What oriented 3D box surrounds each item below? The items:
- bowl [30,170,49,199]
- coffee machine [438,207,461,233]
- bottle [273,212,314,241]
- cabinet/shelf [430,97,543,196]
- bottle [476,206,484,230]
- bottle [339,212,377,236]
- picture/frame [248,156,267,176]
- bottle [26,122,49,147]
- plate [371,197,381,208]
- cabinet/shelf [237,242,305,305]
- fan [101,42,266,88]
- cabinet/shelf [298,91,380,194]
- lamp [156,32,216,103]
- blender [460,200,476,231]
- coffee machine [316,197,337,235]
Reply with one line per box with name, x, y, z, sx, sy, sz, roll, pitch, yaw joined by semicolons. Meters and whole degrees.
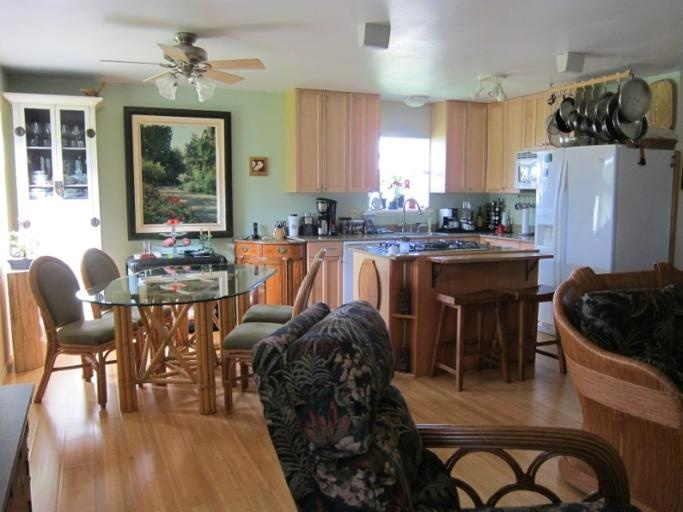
bowl;-3.032;-0.714;5.464;0.187;0.283;0.050;-8;16;-28
coffee machine;1.484;-0.489;7.499;0.322;0.396;0.317;-3;7;-22
bottle;-0.643;-0.301;6.618;0.356;0.515;0.427;0;4;37
cabinet/shelf;1.862;-1.369;7.025;1.180;1.145;1.182;-2;6;-21
bottle;1.956;-0.534;7.645;0.130;0.287;0.322;3;14;14
bottle;0.201;-0.398;7.020;0.495;0.231;0.411;0;13;4
picture/frame;-1.031;-1.099;6.620;0.239;0.241;0.017;-1;4;-27
bottle;-3.029;-1.193;5.462;0.222;0.253;0.221;0;3;-34
plate;0.462;-0.708;7.352;0.107;0.147;0.142;-1;4;-4
cabinet/shelf;-0.707;0.201;5.697;0.693;0.823;0.288;0;5;-4
fan;-1.115;-1.584;4.395;0.699;0.334;0.866;-6;14;-22
cabinet/shelf;-0.073;-1.402;6.546;1.128;1.104;0.386;-3;10;-25
lamp;-1.208;-1.516;4.273;0.503;0.399;0.533;4;-5;-35
blender;1.751;-0.548;7.528;0.205;0.356;0.452;2;13;12
coffee machine;-0.184;-0.506;6.864;0.265;0.445;0.337;-1;13;-2
